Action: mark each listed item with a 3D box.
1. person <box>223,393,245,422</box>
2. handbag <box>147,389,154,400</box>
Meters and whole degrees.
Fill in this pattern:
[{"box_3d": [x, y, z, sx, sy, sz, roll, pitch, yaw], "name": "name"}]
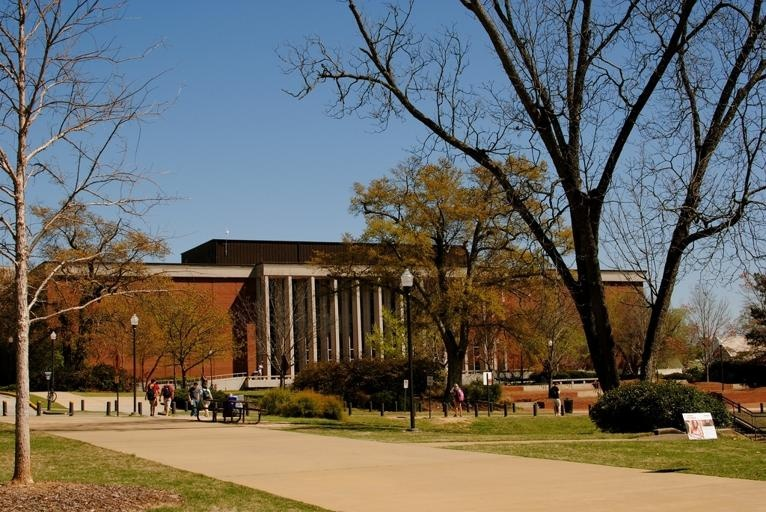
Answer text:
[{"box_3d": [-6.341, 6.503, 43.633, 0.884, 1.309, 3.532, 1, -12, -8], "name": "person"}, {"box_3d": [-10.734, 6.393, 47.508, 0.345, 0.485, 0.586, 2, -12, -13], "name": "handbag"}]
